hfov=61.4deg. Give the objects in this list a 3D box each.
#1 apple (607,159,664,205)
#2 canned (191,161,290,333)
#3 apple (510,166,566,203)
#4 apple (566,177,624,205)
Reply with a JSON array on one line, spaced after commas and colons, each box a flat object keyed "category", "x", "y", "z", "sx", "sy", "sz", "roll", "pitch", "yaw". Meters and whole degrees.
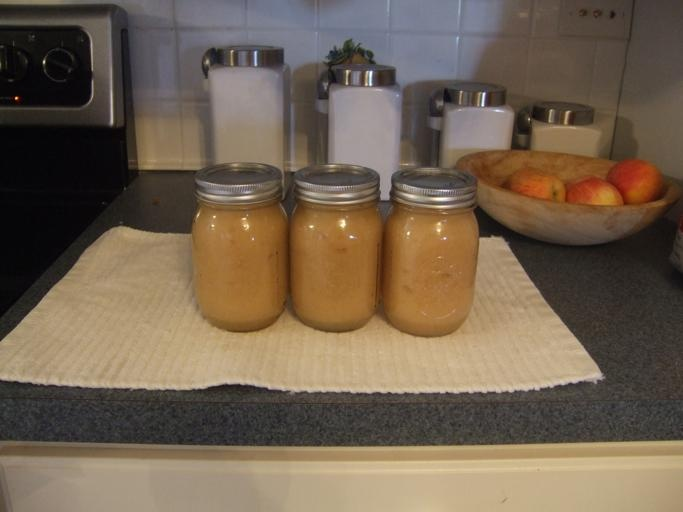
[{"category": "apple", "x": 0.489, "y": -0.121, "z": 0.959, "sx": 0.066, "sy": 0.063, "sz": 0.066, "roll": 11, "pitch": 60, "yaw": -17}, {"category": "canned", "x": -0.124, "y": -0.011, "z": 0.713, "sx": 0.115, "sy": 0.193, "sz": 0.091, "roll": 1, "pitch": 22, "yaw": 2}, {"category": "apple", "x": 0.341, "y": -0.135, "z": 0.985, "sx": 0.081, "sy": 0.058, "sz": 0.057, "roll": 23, "pitch": 4, "yaw": -23}, {"category": "apple", "x": 0.405, "y": -0.103, "z": 0.936, "sx": 0.092, "sy": 0.037, "sz": 0.065, "roll": -7, "pitch": 23, "yaw": -19}]
